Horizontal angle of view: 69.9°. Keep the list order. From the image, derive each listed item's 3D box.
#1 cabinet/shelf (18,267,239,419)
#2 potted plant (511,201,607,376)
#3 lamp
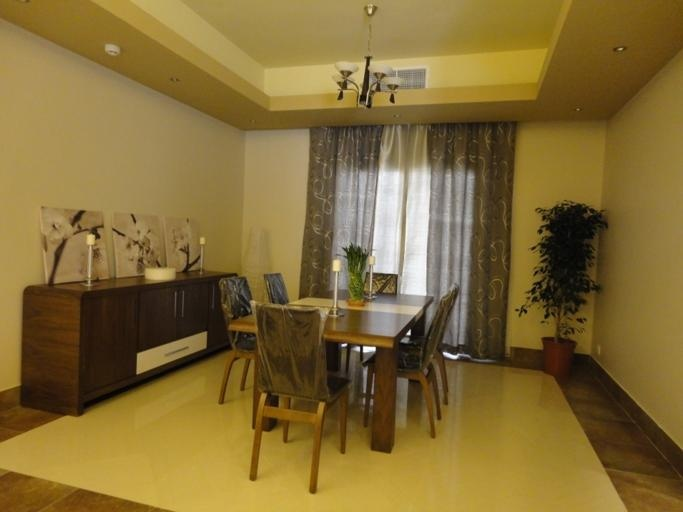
[{"bbox_3d":[-2.117,0.763,5.479,0.660,1.107,2.682,3,3,17],"label":"cabinet/shelf"},{"bbox_3d":[2.570,0.345,5.786,0.839,1.975,0.769,8,12,29],"label":"potted plant"},{"bbox_3d":[0.253,-1.999,5.052,0.711,0.983,1.565,3,11,6],"label":"lamp"}]
